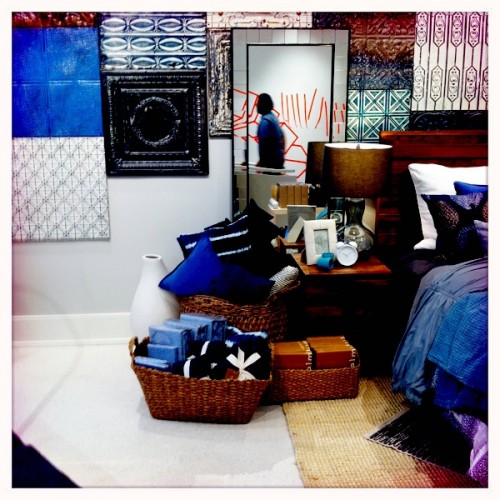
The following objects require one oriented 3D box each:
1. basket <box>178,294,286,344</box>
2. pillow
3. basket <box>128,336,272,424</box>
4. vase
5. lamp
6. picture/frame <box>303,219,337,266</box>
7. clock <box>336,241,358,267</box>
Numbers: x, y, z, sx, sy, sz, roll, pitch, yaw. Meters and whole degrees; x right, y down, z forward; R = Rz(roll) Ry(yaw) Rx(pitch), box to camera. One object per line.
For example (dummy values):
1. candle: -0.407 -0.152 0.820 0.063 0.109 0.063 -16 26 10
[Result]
1. basket: -0.058 0.322 2.484 0.376 0.165 0.317 1 2 11
2. pillow: 1.179 -0.254 2.712 0.452 0.500 0.456 1 14 11
3. basket: -0.222 0.609 2.169 0.528 0.269 0.390 2 -5 -3
4. vase: -0.558 0.283 2.658 0.279 0.464 0.165 -5 14 -16
5. lamp: 0.639 -0.322 2.737 0.370 0.624 0.554 2 14 15
6. picture/frame: 0.392 -0.038 2.522 0.251 0.316 0.034 -1 -1 -11
7. clock: 0.549 0.021 2.546 0.148 0.119 0.112 -1 13 0
